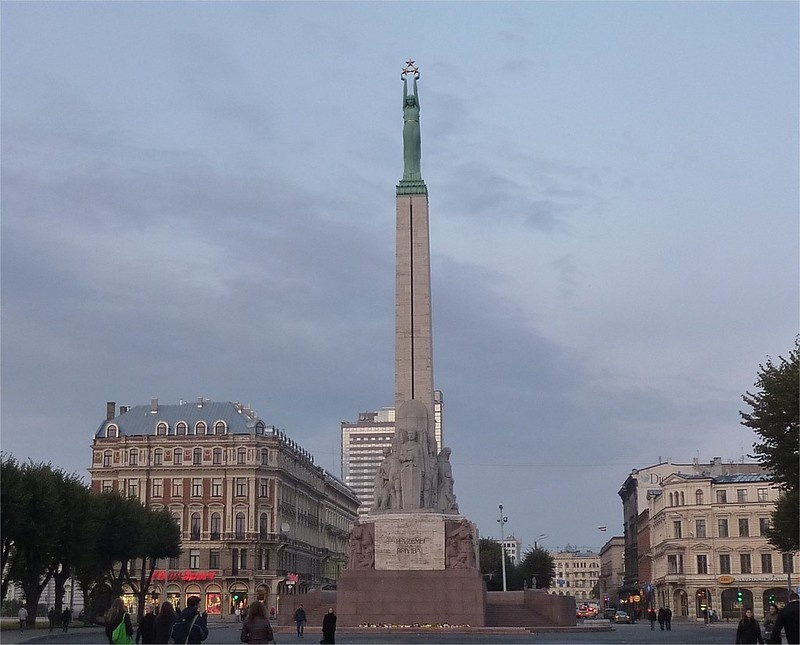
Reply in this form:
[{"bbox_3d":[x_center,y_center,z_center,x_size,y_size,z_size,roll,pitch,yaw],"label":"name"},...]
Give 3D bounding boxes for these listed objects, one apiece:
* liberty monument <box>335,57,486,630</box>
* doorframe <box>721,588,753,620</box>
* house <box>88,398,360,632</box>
[{"bbox_3d":[1.263,-0.285,115.102,7.939,41.449,9.189,10,-20,-23],"label":"liberty monument"},{"bbox_3d":[29.298,23.959,149.181,2.236,2.699,3.947,3,-19,-5],"label":"doorframe"},{"bbox_3d":[-21.967,18.704,180.755,17.443,18.871,42.911,0,-9,-7],"label":"house"}]
